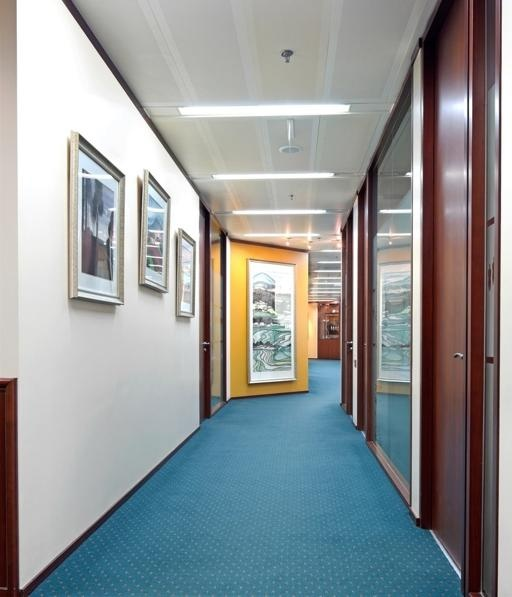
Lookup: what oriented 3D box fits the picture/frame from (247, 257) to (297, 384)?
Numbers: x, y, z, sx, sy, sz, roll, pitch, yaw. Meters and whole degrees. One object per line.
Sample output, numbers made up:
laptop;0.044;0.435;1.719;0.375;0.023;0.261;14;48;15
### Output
picture/frame;0.358;0.488;9.188;0.987;3.005;0.120;2;-32;-2
